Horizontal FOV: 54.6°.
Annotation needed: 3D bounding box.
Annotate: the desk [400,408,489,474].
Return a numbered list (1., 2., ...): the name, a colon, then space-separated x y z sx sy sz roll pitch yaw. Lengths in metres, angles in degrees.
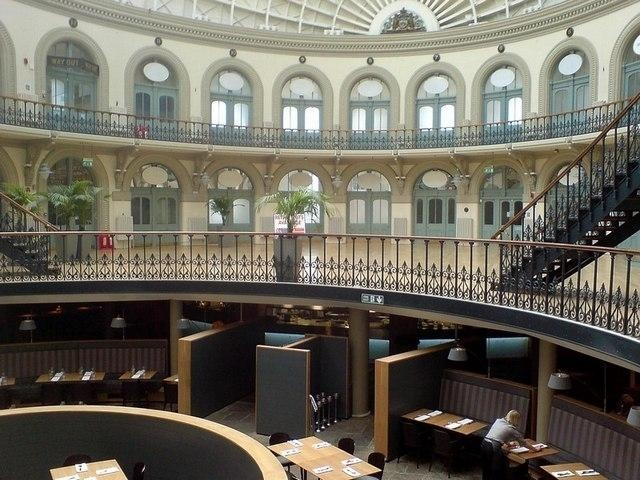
1. desk: 2.680 4.270 13.569 1.490 1.015 1.172 7 15 41

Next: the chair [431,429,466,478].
1. chair: 2.752 4.415 13.342 0.617 1.007 0.872 1 9 13

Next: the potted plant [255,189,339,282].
1. potted plant: -0.589 -0.143 14.688 1.124 2.112 0.936 -4 9 -17

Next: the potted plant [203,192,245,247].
1. potted plant: -3.358 -0.733 21.825 1.158 1.770 2.299 -3 9 -11
